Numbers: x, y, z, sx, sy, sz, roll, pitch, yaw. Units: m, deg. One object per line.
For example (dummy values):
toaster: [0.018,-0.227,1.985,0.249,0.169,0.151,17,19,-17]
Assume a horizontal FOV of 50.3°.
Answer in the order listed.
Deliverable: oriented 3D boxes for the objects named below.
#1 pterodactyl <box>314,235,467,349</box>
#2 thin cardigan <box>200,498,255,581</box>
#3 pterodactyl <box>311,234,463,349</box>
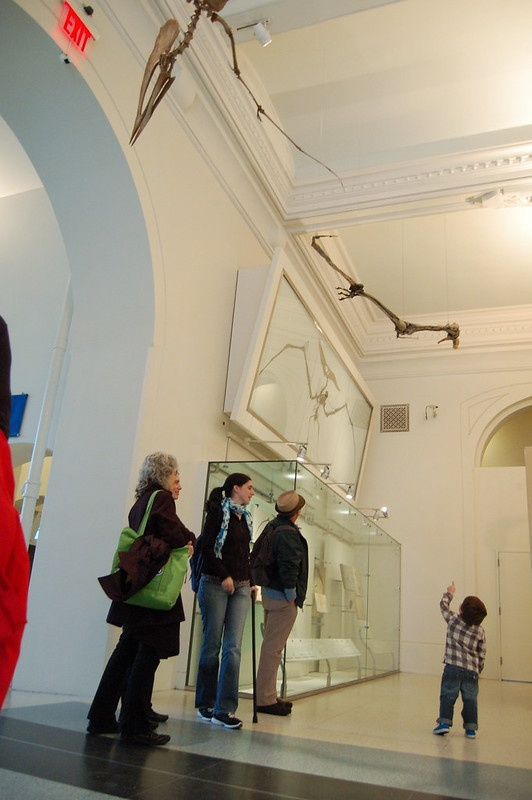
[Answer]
pterodactyl: [1.748,-1.569,8.695,2.768,0.849,0.613,33,15,5]
thin cardigan: [-0.181,0.789,3.145,0.193,0.407,0.373,4,-10,31]
pterodactyl: [2.026,-1.548,8.957,1.855,1.212,3.785,1,-18,29]
